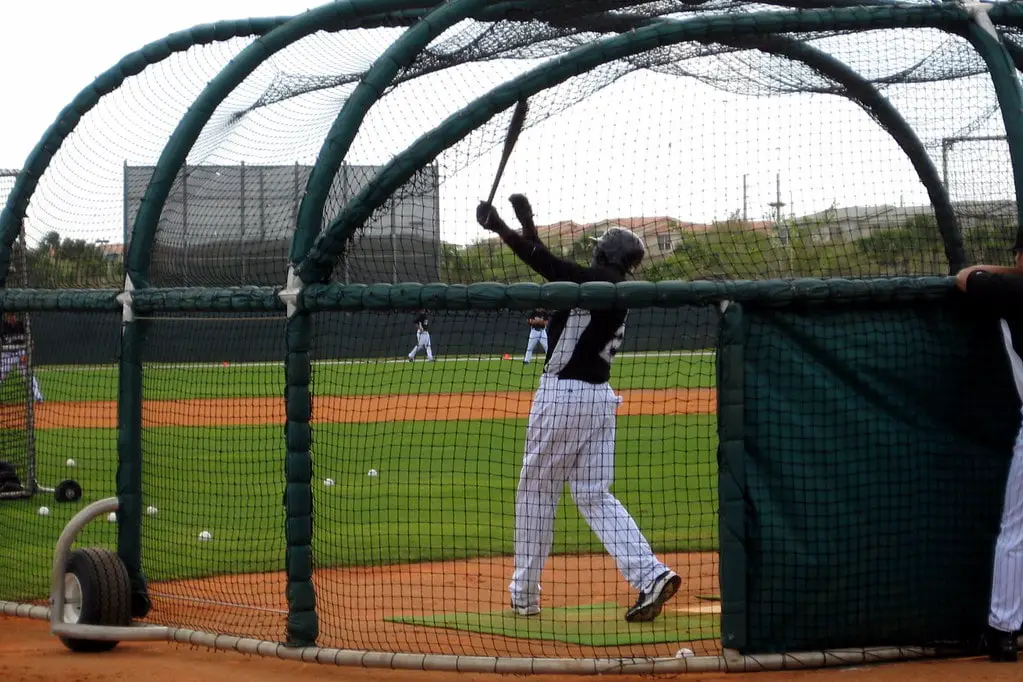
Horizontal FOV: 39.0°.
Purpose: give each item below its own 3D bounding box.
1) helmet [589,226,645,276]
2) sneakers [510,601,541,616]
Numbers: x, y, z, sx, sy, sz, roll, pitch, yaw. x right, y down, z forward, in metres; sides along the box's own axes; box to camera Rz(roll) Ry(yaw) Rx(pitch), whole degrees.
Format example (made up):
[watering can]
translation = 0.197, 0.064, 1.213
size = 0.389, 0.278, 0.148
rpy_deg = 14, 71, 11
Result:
[helmet]
translation = 0.819, -0.667, 10.725
size = 0.416, 0.357, 0.185
rpy_deg = -2, -2, 12
[sneakers]
translation = 0.119, 1.972, 10.762
size = 0.137, 0.111, 0.108
rpy_deg = -1, 1, 17
